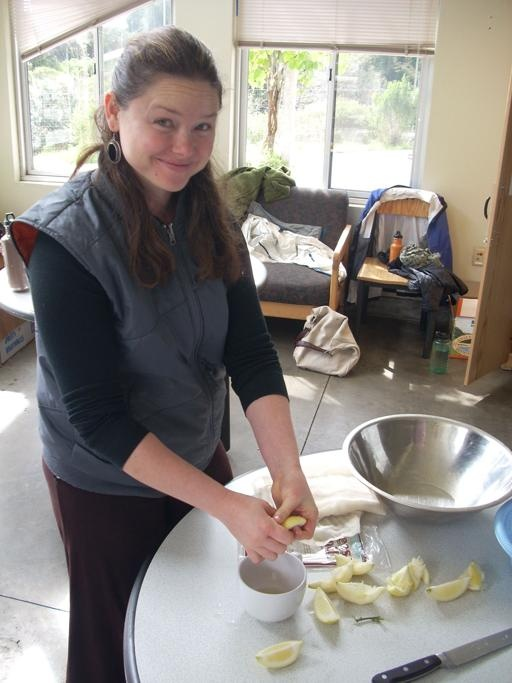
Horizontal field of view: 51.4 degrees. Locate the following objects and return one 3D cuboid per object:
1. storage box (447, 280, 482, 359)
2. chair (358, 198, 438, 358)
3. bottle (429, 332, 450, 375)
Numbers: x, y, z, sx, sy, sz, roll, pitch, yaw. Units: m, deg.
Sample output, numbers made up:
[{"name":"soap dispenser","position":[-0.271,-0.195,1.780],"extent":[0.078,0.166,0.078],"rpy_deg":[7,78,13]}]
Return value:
[{"name":"storage box","position":[1.453,-0.152,3.715],"extent":[0.149,0.403,1.389],"rpy_deg":[7,20,20]},{"name":"chair","position":[1.029,-0.541,3.920],"extent":[0.527,0.959,0.916],"rpy_deg":[4,20,11]},{"name":"bottle","position":[1.167,0.069,3.359],"extent":[0.109,0.240,0.177],"rpy_deg":[7,20,19]}]
